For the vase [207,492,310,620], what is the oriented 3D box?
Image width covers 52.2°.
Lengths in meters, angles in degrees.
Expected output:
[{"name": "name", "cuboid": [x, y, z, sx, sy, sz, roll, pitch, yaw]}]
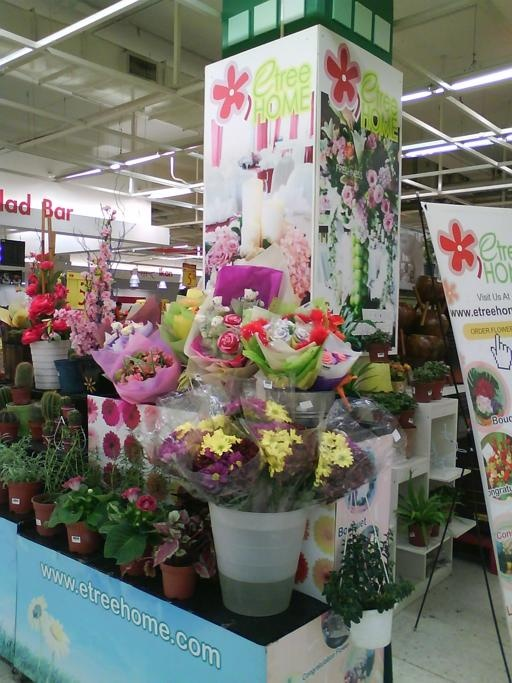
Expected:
[{"name": "vase", "cuboid": [0.008, 0.499, 1.251, 0.231, 0.234, 0.233, -2, -5, 30]}]

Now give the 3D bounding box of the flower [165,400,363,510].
[{"name": "flower", "cuboid": [0.014, 0.199, 1.126, 0.307, 0.167, 0.283, 0, 3, 16]}]

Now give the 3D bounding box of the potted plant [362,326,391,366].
[{"name": "potted plant", "cuboid": [0.561, 0.020, 2.398, 0.179, 0.149, 0.109, 1, -3, -15]}]

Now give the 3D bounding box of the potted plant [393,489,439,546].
[{"name": "potted plant", "cuboid": [0.904, 0.971, 3.064, 0.337, 0.278, 0.330, 0, 0, 13]}]

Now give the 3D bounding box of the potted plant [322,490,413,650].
[{"name": "potted plant", "cuboid": [0.276, 0.662, 1.322, 0.204, 0.360, 0.342, -1, -3, 7]}]

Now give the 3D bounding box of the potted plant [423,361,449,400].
[{"name": "potted plant", "cuboid": [1.071, 0.197, 3.127, 0.208, 0.262, 0.248, 1, 9, 19]}]

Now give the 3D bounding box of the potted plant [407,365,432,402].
[{"name": "potted plant", "cuboid": [0.963, 0.244, 3.061, 0.120, 0.214, 0.188, -1, -3, 16]}]
